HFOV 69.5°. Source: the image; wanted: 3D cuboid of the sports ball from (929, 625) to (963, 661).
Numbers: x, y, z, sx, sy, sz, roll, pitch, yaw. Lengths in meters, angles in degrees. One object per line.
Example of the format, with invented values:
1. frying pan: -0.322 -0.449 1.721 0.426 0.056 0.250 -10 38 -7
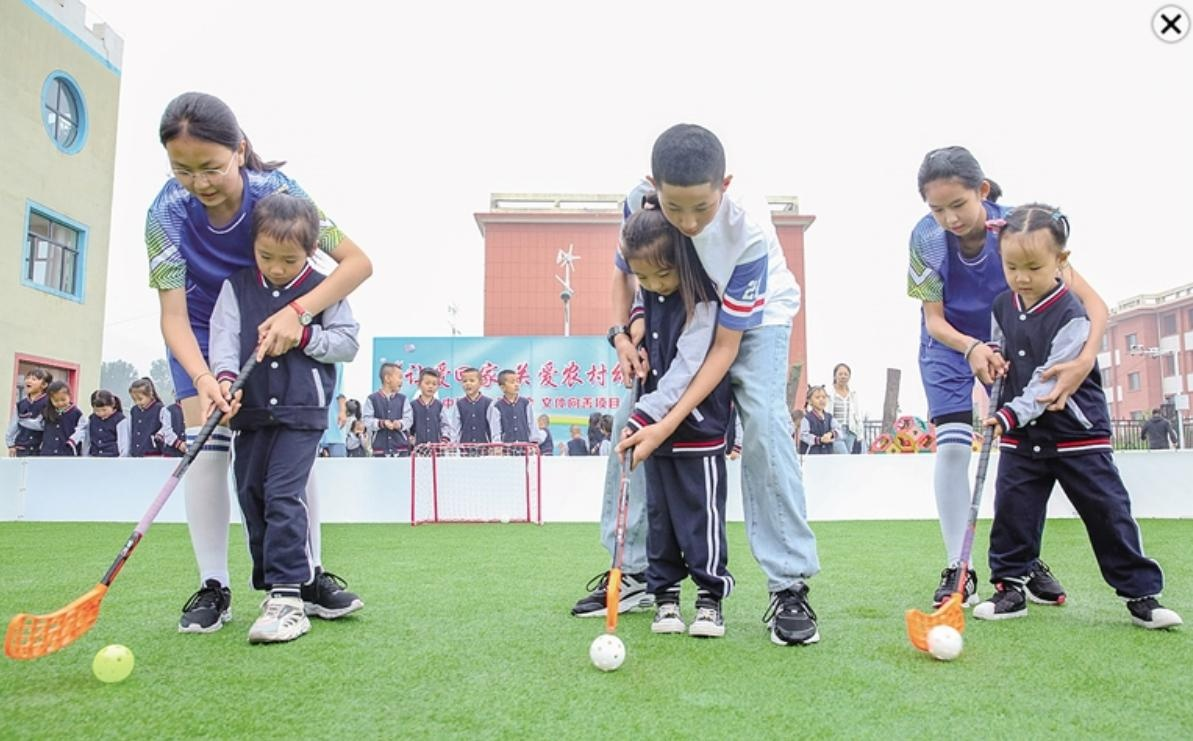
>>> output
1. sports ball: 1.498 1.174 3.744 0.134 0.134 0.074 -35 -22 -18

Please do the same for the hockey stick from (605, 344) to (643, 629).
1. hockey stick: 0.112 0.746 4.013 0.067 0.860 0.119 -4 -16 38

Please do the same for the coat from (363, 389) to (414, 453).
1. coat: -2.467 0.613 10.253 0.561 0.774 0.428 -1 -2 -21

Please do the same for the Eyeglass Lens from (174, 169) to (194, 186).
1. Eyeglass Lens: -1.937 -0.917 4.054 0.079 0.083 0.025 -1 -3 20

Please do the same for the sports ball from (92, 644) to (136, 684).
1. sports ball: -1.977 1.205 3.540 0.149 0.138 0.116 -2 4 -31

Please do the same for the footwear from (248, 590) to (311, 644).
1. footwear: -1.458 1.144 4.001 0.179 0.204 0.464 -7 -4 5

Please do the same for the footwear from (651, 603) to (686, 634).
1. footwear: 0.344 1.182 4.112 0.161 0.113 0.163 0 3 3

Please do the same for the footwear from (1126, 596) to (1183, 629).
1. footwear: 2.624 1.158 4.112 0.108 0.110 0.273 -8 -9 -16

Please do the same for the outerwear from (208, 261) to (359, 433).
1. outerwear: -1.536 -0.158 4.236 0.628 0.799 0.392 1 13 -18

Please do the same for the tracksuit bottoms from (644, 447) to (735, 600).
1. tracksuit bottoms: 0.449 0.751 4.214 0.403 0.714 0.266 0 4 3

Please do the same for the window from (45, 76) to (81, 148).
1. window: -9.202 -4.432 14.981 1.221 1.219 0.062 28 32 23

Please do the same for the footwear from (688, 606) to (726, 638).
1. footwear: 0.521 1.180 4.037 0.175 0.123 0.132 0 3 7

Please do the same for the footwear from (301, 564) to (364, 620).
1. footwear: -1.372 1.126 4.345 0.380 0.192 0.150 -3 -2 32

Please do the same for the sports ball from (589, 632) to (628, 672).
1. sports ball: 0.047 1.190 3.611 0.137 0.141 0.138 1 6 0

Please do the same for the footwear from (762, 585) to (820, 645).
1. footwear: 0.939 1.125 4.093 0.228 0.244 0.535 -1 5 6

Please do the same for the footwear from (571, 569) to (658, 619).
1. footwear: 0.096 1.154 4.447 0.504 0.246 0.182 1 -12 -29

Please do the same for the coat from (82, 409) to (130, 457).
1. coat: -5.493 0.718 9.681 0.486 0.551 0.219 -1 -8 -5

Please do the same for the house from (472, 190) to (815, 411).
1. house: -0.079 -3.556 26.686 7.584 2.975 6.608 1 -35 -9

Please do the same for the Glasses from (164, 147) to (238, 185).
1. Glasses: -1.855 -0.971 4.072 0.287 0.183 0.109 -1 4 -22

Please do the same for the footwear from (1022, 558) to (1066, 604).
1. footwear: 2.377 1.144 4.658 0.144 0.158 0.339 3 -1 -9

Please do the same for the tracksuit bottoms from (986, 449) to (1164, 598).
1. tracksuit bottoms: 2.707 0.899 4.910 0.831 0.909 0.321 -10 -13 34

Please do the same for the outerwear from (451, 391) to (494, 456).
1. outerwear: -1.434 0.645 10.058 0.582 0.739 0.355 -3 -22 0

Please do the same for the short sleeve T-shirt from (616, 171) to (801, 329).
1. short sleeve T-shirt: 0.701 -0.564 4.290 0.747 0.725 0.443 -2 4 -25

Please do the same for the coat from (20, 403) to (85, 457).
1. coat: -6.048 0.733 9.653 0.539 0.733 0.371 2 15 -41
